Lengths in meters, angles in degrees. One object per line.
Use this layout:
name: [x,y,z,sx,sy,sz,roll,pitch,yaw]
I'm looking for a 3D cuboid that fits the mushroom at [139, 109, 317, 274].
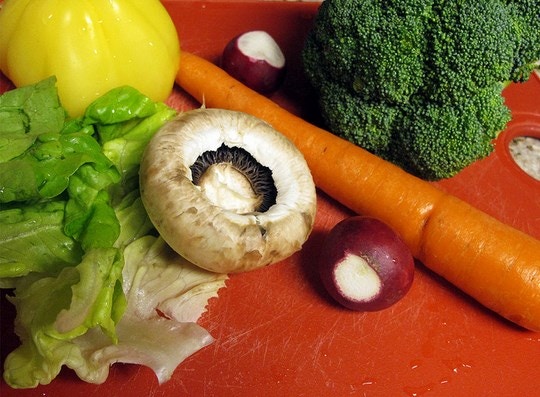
mushroom: [-0.144,-0.038,1.507,0.466,0.196,0.503,13,48,-41]
